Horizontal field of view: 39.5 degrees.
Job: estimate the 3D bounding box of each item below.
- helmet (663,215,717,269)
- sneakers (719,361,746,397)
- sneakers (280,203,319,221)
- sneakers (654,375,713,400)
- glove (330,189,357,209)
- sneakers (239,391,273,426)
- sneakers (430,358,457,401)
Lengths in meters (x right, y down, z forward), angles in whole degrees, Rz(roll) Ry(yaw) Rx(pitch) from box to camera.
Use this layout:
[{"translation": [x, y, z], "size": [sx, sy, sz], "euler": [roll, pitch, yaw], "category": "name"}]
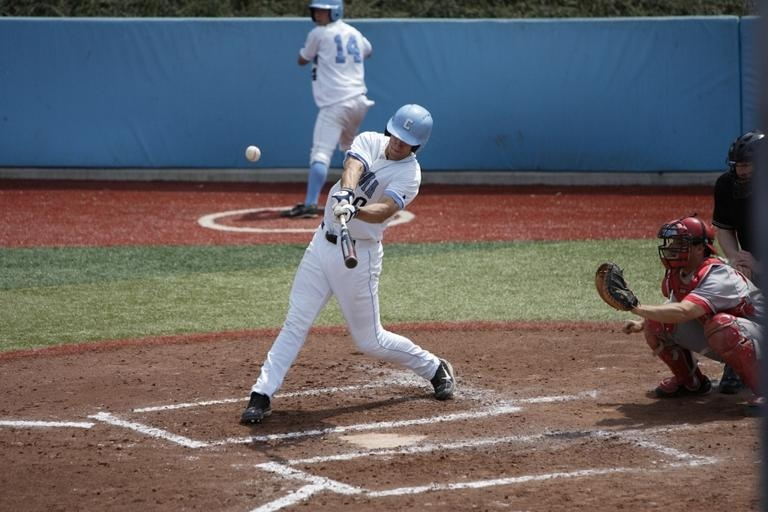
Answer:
[{"translation": [2.716, -0.126, 9.800], "size": [0.588, 0.412, 0.452], "euler": [2, 4, -6], "category": "helmet"}, {"translation": [3.290, 1.162, 9.938], "size": [0.231, 0.171, 0.349], "euler": [20, 40, -6], "category": "sneakers"}, {"translation": [-1.381, -0.656, 16.130], "size": [0.661, 0.210, 0.208], "euler": [1, 7, 7], "category": "sneakers"}, {"translation": [2.810, 1.240, 10.124], "size": [0.618, 0.203, 0.198], "euler": [0, 4, -1], "category": "sneakers"}, {"translation": [-0.385, -0.517, 9.428], "size": [0.227, 0.081, 0.111], "euler": [1, 22, -5], "category": "glove"}, {"translation": [-1.192, 1.395, 9.677], "size": [0.187, 0.187, 0.425], "euler": [3, 2, 16], "category": "sneakers"}, {"translation": [0.537, 1.199, 10.143], "size": [0.228, 0.421, 0.175], "euler": [25, -43, -31], "category": "sneakers"}]
